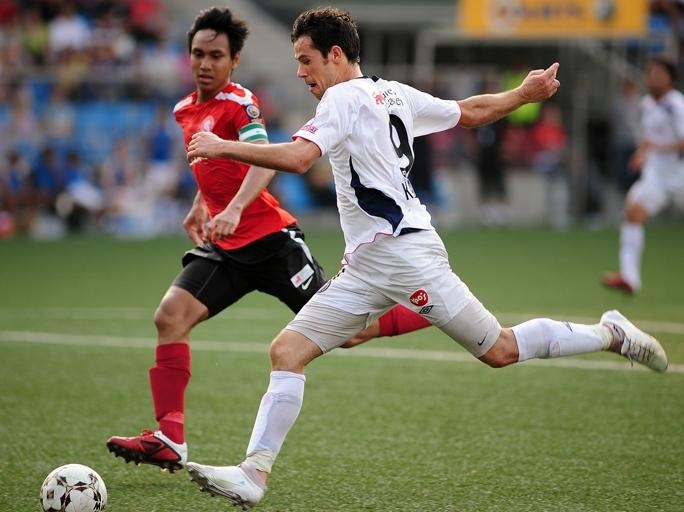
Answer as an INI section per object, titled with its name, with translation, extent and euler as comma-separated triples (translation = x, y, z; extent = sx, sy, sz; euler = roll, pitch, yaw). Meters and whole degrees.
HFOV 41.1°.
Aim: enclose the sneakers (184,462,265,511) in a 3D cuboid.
[sneakers]
translation = -0.646, 1.293, 5.117
extent = 0.322, 0.108, 0.171
euler = 30, 51, 3
